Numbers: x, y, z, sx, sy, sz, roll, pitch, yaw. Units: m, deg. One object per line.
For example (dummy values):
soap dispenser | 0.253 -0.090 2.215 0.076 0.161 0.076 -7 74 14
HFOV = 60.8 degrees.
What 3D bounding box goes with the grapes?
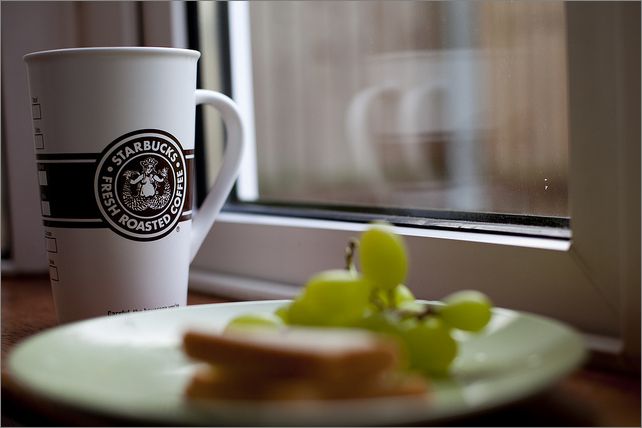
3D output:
grapes | 0.042 0.062 0.500 0.121 0.083 0.164 -3 -3 -11
